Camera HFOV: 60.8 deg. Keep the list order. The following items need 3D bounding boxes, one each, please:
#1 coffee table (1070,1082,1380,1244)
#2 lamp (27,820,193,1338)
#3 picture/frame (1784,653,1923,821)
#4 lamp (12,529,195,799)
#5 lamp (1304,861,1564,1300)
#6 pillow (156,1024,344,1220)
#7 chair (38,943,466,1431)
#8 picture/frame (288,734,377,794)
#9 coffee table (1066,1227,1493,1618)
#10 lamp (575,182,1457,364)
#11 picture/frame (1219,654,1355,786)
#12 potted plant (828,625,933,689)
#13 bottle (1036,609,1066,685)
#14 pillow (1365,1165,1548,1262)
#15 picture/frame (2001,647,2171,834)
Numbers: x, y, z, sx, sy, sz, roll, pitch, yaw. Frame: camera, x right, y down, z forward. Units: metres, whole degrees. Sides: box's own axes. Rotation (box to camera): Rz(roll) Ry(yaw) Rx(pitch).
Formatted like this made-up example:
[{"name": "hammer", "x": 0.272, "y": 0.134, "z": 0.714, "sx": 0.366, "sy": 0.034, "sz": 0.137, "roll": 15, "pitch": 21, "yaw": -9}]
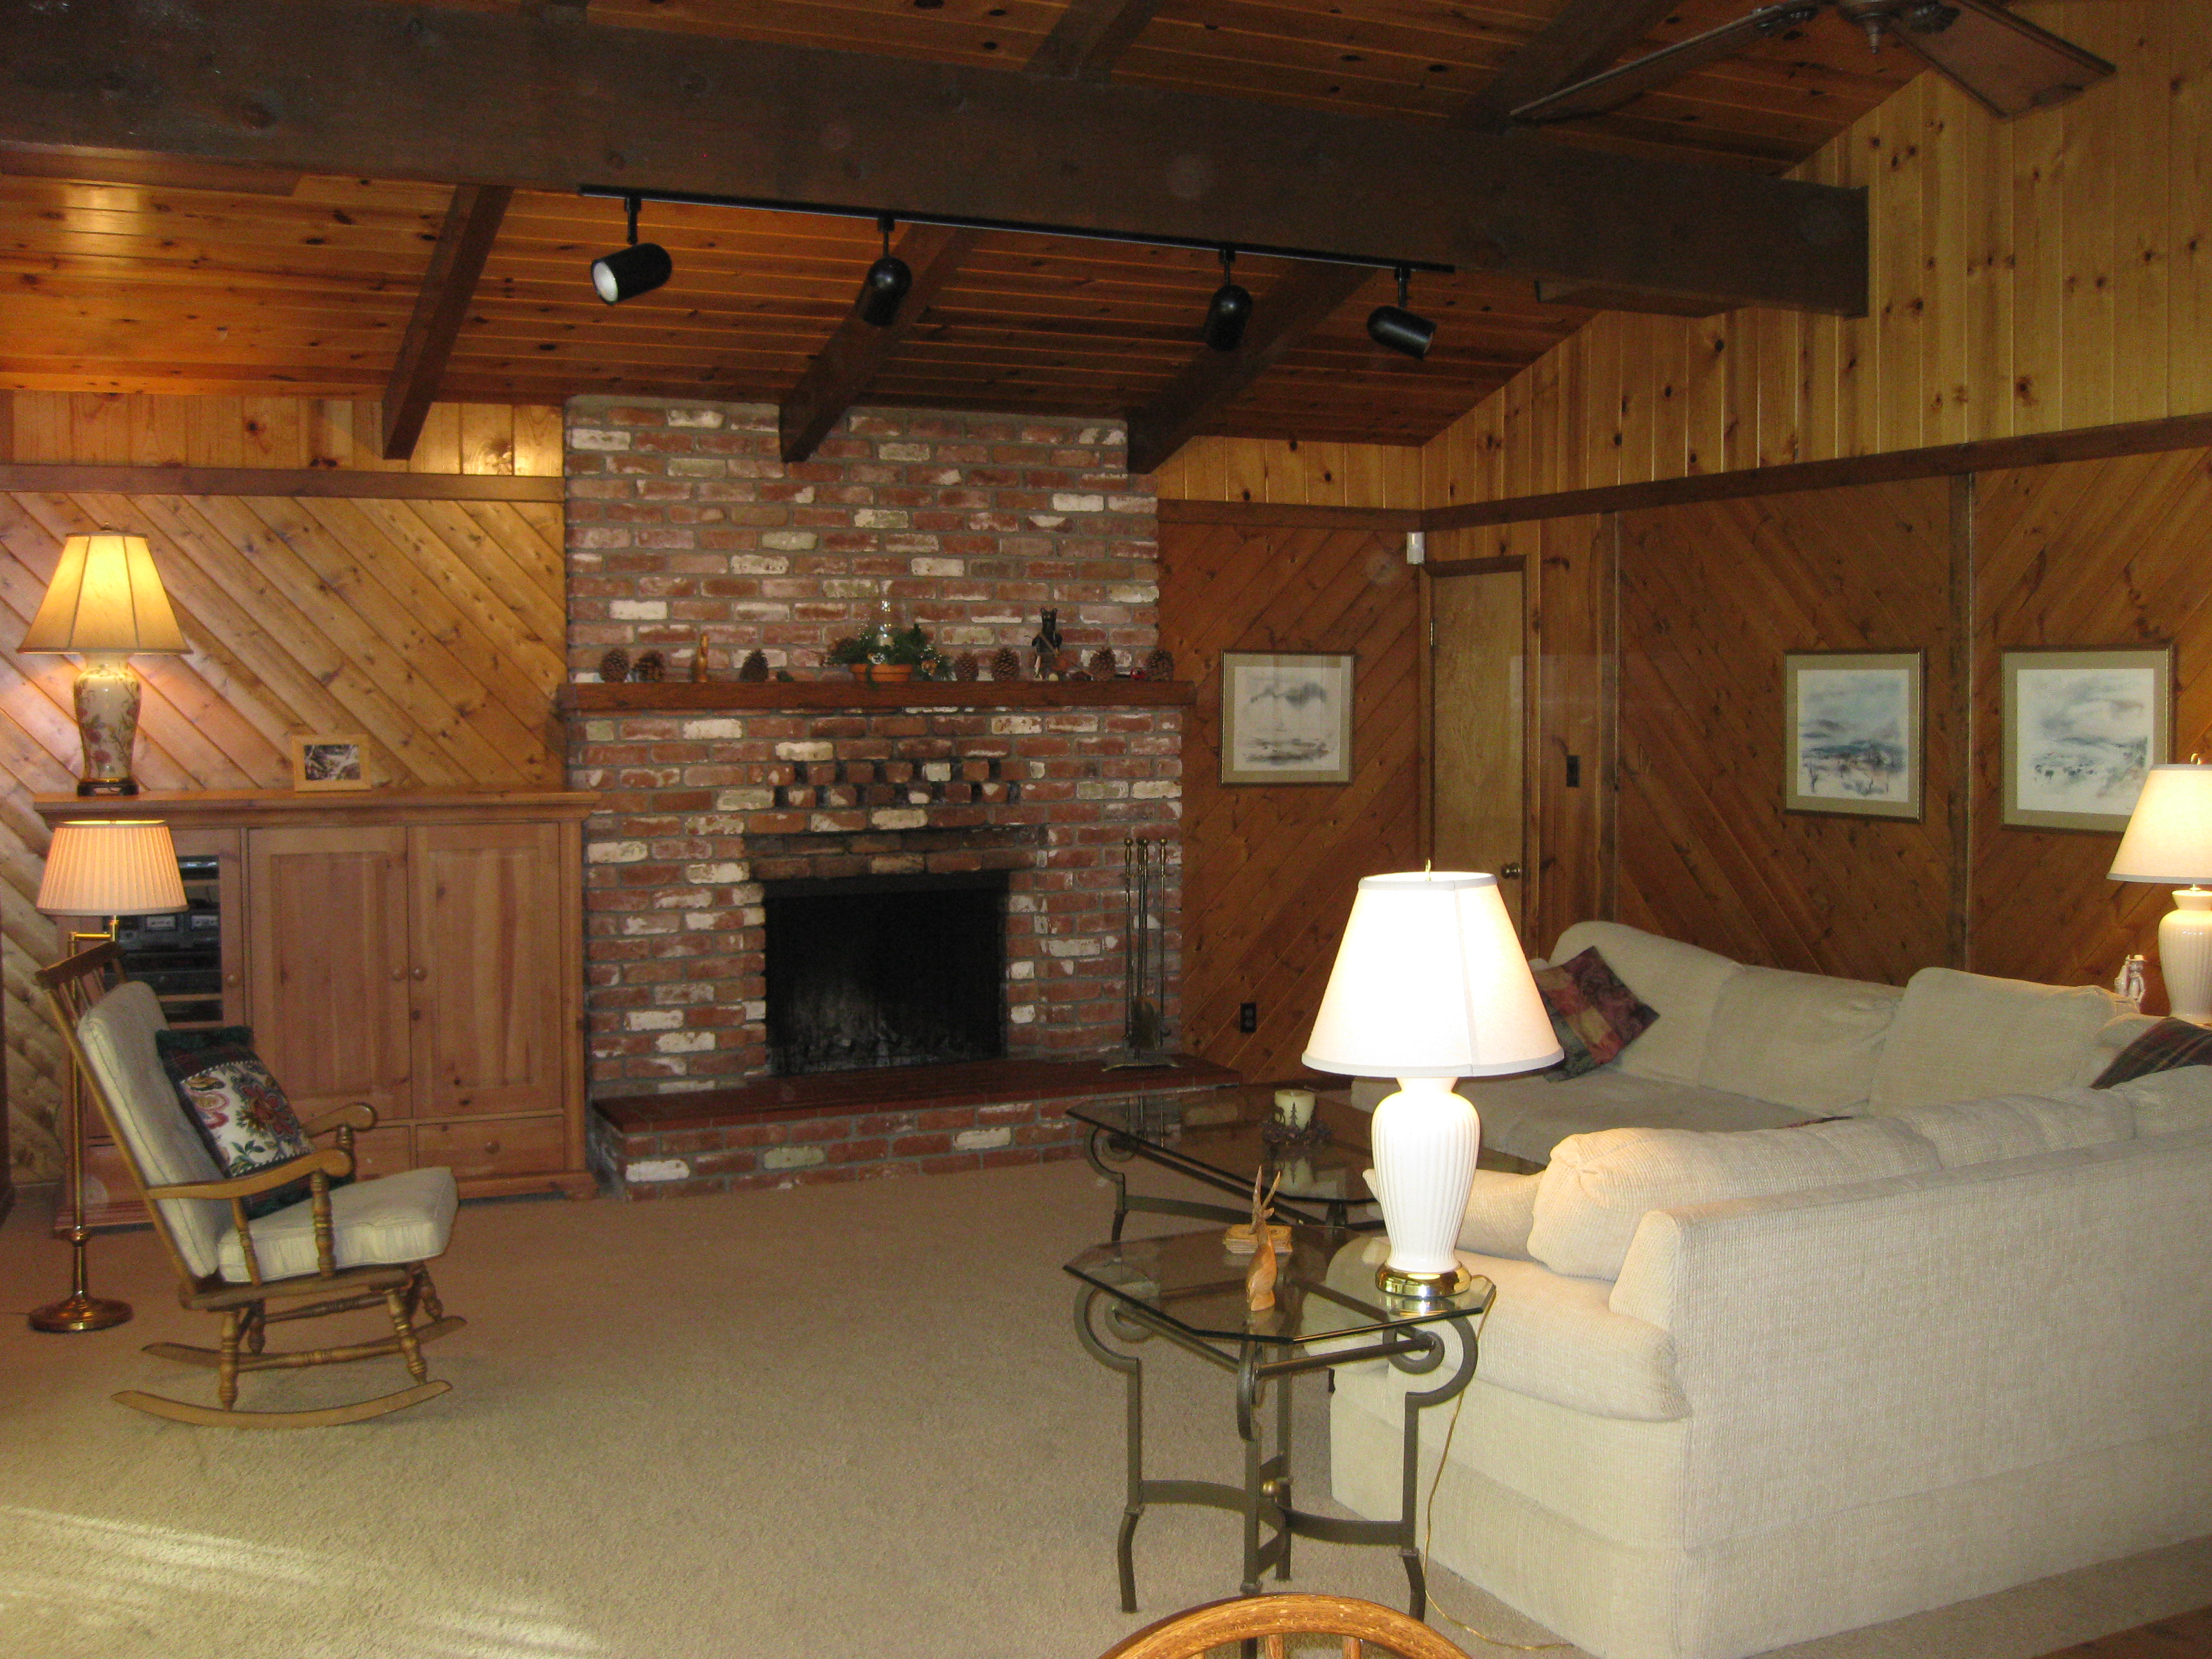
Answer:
[{"name": "coffee table", "x": 0.412, "y": 1.062, "z": 6.342, "sx": 1.230, "sy": 0.264, "sz": 0.671, "roll": -11, "pitch": -8, "yaw": -15}, {"name": "lamp", "x": -3.502, "y": 0.836, "z": 6.458, "sx": 0.634, "sy": 1.676, "sz": 0.535, "roll": -2, "pitch": -5, "yaw": 17}, {"name": "picture/frame", "x": 3.065, "y": -0.383, "z": 7.726, "sx": 0.140, "sy": 0.660, "sz": 0.689, "roll": -4, "pitch": 9, "yaw": -20}, {"name": "lamp", "x": -3.966, "y": -0.651, "z": 7.456, "sx": 0.554, "sy": 1.023, "sz": 0.521, "roll": -5, "pitch": 10, "yaw": -27}, {"name": "lamp", "x": 0.736, "y": 0.578, "z": 4.306, "sx": 0.546, "sy": 0.970, "sz": 0.334, "roll": 1, "pitch": 9, "yaw": 6}, {"name": "pillow", "x": -2.741, "y": 0.914, "z": 5.856, "sx": 0.213, "sy": 0.636, "sz": 0.707, "roll": -33, "pitch": -3, "yaw": 5}, {"name": "chair", "x": -2.602, "y": 1.060, "z": 5.841, "sx": 1.194, "sy": 1.339, "sz": 0.909, "roll": -2, "pitch": 5, "yaw": -3}, {"name": "picture/frame", "x": -3.182, "y": -0.263, "z": 7.710, "sx": 0.290, "sy": 0.215, "sz": 0.028, "roll": 0, "pitch": -7, "yaw": -17}, {"name": "coffee table", "x": 0.258, "y": 1.523, "z": 4.773, "sx": 0.910, "sy": 0.602, "sz": 0.685, "roll": -9, "pitch": -21, "yaw": 4}, {"name": "lamp", "x": -0.221, "y": -1.992, "z": 6.850, "sx": 3.088, "sy": 0.376, "sz": 0.402, "roll": 1, "pitch": 14, "yaw": -15}, {"name": "picture/frame", "x": 0.909, "y": -0.555, "z": 9.677, "sx": 0.883, "sy": 0.666, "sz": 0.064, "roll": -2, "pitch": 7, "yaw": -34}, {"name": "potted plant", "x": -1.008, "y": -0.746, "z": 8.538, "sx": 0.347, "sy": 0.163, "sz": 0.327, "roll": 2, "pitch": 2, "yaw": 28}, {"name": "bottle", "x": -0.271, "y": -0.869, "z": 8.885, "sx": 0.142, "sy": 0.325, "sz": 0.312, "roll": 0, "pitch": 9, "yaw": -1}, {"name": "pillow", "x": 0.912, "y": 0.941, "z": 4.757, "sx": 0.351, "sy": 0.290, "sz": 0.338, "roll": 4, "pitch": 5, "yaw": 10}, {"name": "picture/frame", "x": 3.569, "y": -0.319, "z": 6.815, "sx": 0.035, "sy": 0.795, "sz": 0.756, "roll": -1, "pitch": 2, "yaw": -29}]
